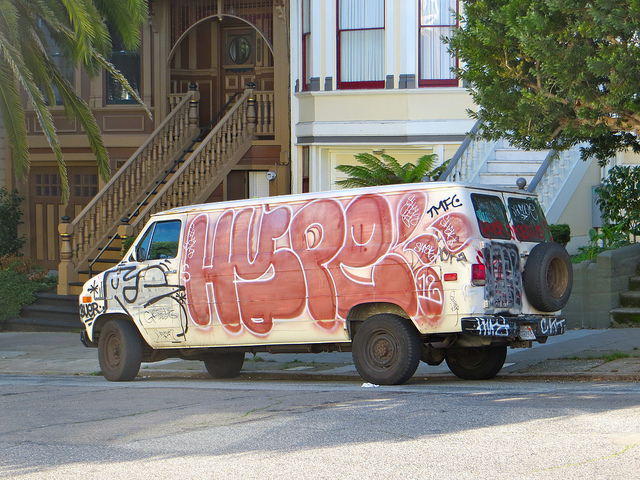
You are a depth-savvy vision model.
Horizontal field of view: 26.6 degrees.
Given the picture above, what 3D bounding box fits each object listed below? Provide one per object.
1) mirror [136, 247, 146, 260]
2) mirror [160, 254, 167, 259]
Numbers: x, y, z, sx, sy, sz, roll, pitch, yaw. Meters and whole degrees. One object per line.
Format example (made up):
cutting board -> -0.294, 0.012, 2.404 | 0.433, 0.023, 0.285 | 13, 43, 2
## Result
mirror -> -3.032, 0.239, 22.980 | 0.191, 0.284, 0.030 | 1, 4, 33
mirror -> -2.633, 0.298, 22.753 | 0.153, 0.071, 0.046 | 3, 8, 44
